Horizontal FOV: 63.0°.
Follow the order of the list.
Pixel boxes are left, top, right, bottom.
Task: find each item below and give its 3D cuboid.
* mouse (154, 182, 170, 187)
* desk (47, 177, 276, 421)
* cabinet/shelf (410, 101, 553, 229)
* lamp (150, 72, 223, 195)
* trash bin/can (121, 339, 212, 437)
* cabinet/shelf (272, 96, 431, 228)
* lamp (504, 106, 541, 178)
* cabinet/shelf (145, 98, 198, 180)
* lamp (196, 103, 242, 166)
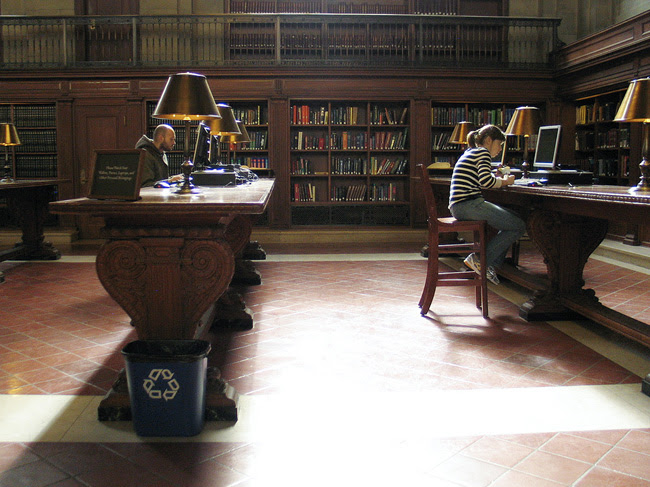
[{"bbox_3d":[-1.363,-0.485,4.389,0.086,0.027,0.094,-1,3,-8],"label":"mouse"},{"bbox_3d":[-0.361,0.422,4.120,1.466,1.062,2.688,-1,-5,26],"label":"desk"},{"bbox_3d":[2.709,-1.553,9.473,0.902,1.910,2.446,-12,23,-28],"label":"cabinet/shelf"},{"bbox_3d":[-0.945,-0.761,3.635,0.430,0.822,0.470,-3,12,-10],"label":"lamp"},{"bbox_3d":[-0.882,0.789,2.957,0.469,0.476,0.314,-1,11,-5],"label":"trash bin/can"},{"bbox_3d":[0.683,-1.471,9.988,2.992,2.274,0.900,8,11,40],"label":"cabinet/shelf"},{"bbox_3d":[2.189,-1.084,5.731,0.539,0.706,0.461,0,6,9],"label":"lamp"},{"bbox_3d":[-2.771,-1.700,9.632,1.035,1.458,0.222,12,40,-18],"label":"cabinet/shelf"},{"bbox_3d":[-1.026,-0.991,5.133,0.374,0.454,0.400,-17,0,-14],"label":"lamp"}]
